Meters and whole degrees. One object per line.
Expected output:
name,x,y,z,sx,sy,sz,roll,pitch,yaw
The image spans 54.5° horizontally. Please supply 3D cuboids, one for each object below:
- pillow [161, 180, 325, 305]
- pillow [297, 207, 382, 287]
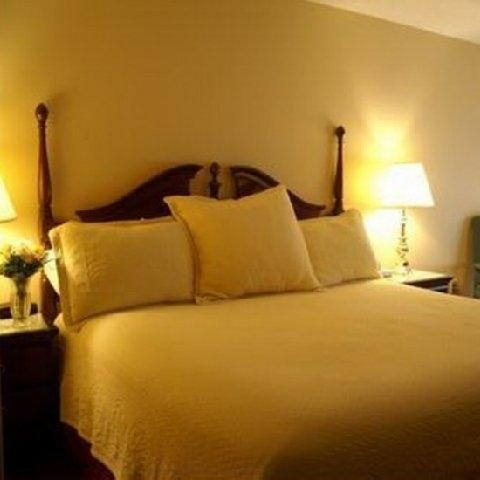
pillow,0.024,0.002,2.125,0.593,0.524,0.175,-4,-23,-28
pillow,0.506,0.063,2.501,0.399,0.373,0.118,-10,-16,-34
